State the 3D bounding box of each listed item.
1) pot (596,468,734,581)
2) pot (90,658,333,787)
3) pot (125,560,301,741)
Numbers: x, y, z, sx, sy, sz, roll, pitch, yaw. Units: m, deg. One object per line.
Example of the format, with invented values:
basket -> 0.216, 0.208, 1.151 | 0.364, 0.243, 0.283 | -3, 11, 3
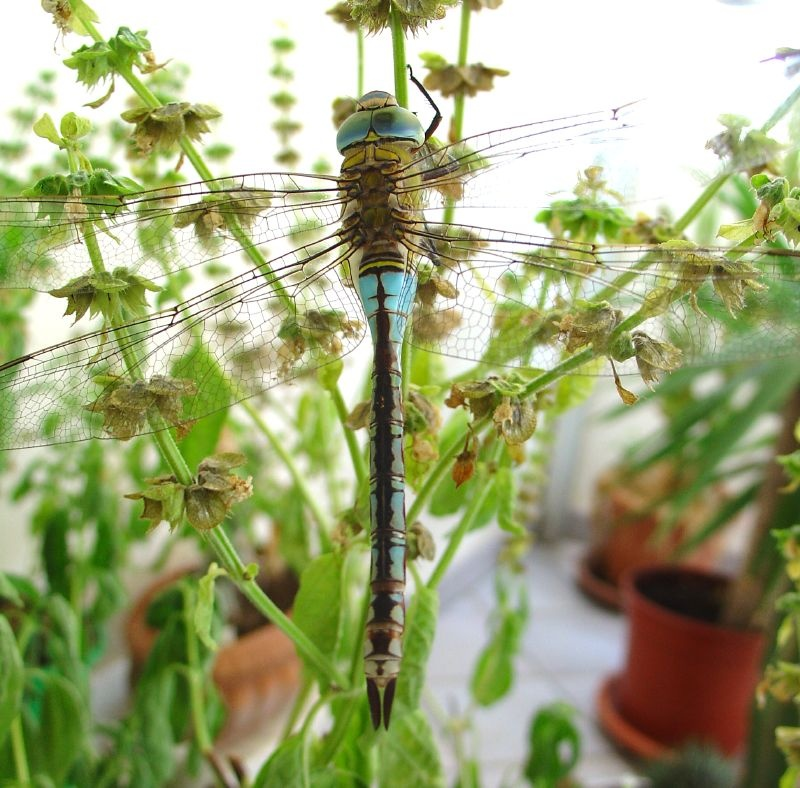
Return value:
pot -> 0.380, 0.190, 1.289 | 0.188, 0.212, 0.164 | -3, -8, 17
pot -> -0.209, 0.296, 0.916 | 0.126, 0.138, 0.167 | 5, 4, 15
pot -> -0.191, 0.288, 0.935 | 0.160, 0.139, 0.187 | -2, -15, -4
